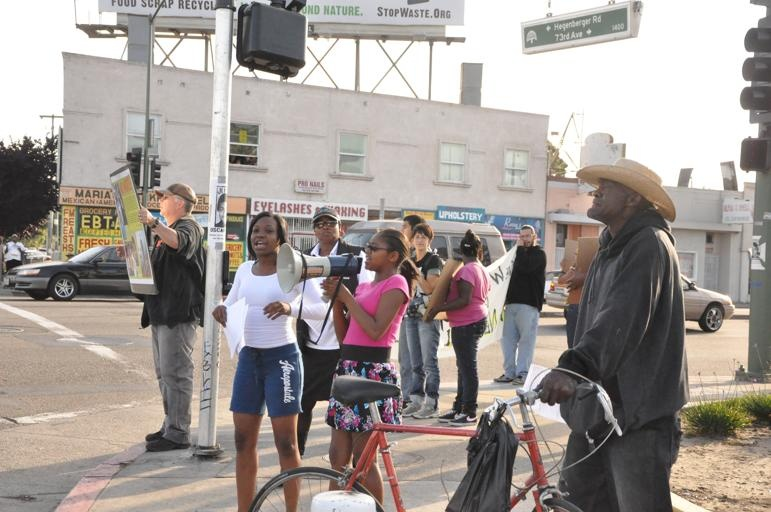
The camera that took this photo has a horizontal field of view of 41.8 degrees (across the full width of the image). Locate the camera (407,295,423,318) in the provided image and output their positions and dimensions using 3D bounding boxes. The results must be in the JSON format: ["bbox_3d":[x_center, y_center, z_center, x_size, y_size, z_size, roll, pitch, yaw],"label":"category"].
[{"bbox_3d":[0.450,0.751,14.892,0.254,0.302,0.119,1,-1,-1],"label":"camera"}]

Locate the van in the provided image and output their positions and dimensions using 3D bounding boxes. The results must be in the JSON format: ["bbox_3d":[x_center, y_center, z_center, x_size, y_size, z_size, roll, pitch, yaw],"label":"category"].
[{"bbox_3d":[0.636,-0.203,16.363,3.429,1.121,1.294,0,-2,-12],"label":"van"}]

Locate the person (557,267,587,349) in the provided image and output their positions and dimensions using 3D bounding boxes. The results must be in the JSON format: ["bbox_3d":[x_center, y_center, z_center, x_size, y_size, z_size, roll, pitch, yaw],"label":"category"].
[{"bbox_3d":[2.872,0.781,15.615,0.517,1.707,0.772,1,2,2],"label":"person"}]

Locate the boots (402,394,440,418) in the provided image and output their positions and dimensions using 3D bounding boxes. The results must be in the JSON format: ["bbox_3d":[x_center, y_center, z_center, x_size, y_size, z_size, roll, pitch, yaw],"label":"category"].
[{"bbox_3d":[0.518,2.202,14.724,0.634,0.299,0.222,9,-11,-25],"label":"boots"}]

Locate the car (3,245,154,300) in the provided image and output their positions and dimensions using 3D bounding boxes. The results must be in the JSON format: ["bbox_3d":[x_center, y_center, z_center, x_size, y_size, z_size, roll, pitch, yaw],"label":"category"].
[{"bbox_3d":[-8.111,0.532,26.343,4.640,1.701,1.988,1,-1,-18],"label":"car"}]

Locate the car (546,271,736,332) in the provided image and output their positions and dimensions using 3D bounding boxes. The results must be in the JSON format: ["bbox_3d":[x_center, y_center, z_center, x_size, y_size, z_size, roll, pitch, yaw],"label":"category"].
[{"bbox_3d":[6.787,1.263,26.041,5.177,2.294,2.422,-2,0,-17],"label":"car"}]
